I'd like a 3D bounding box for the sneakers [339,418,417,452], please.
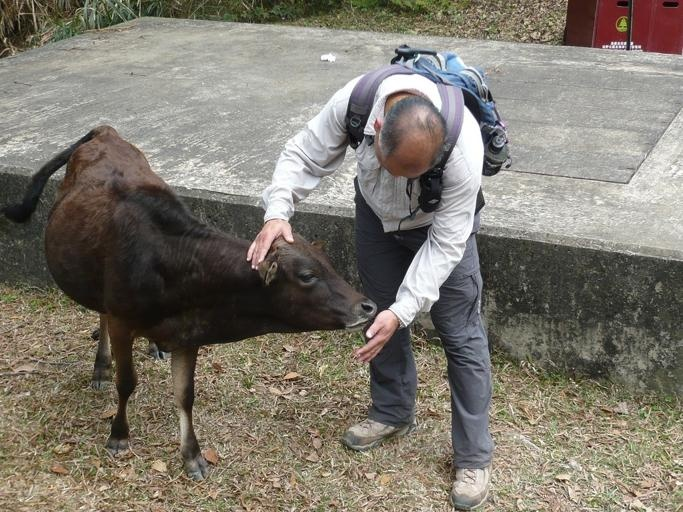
[{"bbox_3d":[0.222,1.082,4.065,0.479,0.212,0.166,-7,24,-20],"label":"sneakers"}]
